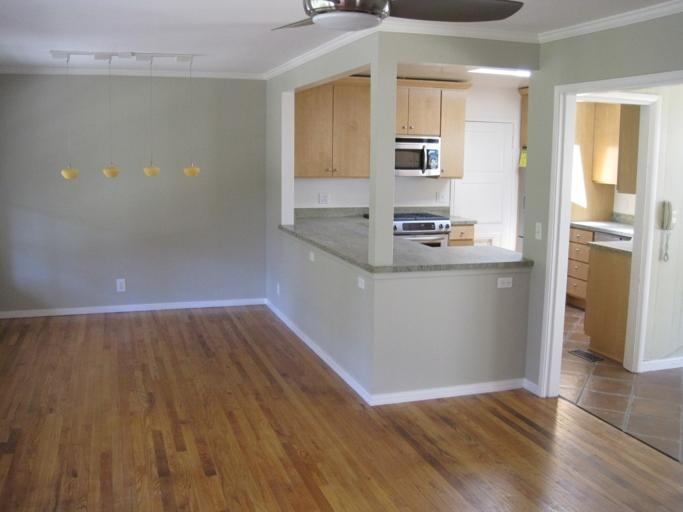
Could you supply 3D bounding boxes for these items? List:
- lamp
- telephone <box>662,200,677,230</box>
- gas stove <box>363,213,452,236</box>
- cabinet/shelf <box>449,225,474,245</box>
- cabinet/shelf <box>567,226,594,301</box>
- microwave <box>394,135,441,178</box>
[{"bbox_3d":[-2.217,-1.460,5.324,1.403,1.296,0.420,-2,10,-15],"label":"lamp"},{"bbox_3d":[2.942,-0.368,4.496,0.160,0.272,0.042,-1,11,-14],"label":"telephone"},{"bbox_3d":[0.969,-0.405,6.340,0.810,0.198,0.507,-1,11,-16],"label":"gas stove"},{"bbox_3d":[1.506,-0.329,6.508,0.320,0.332,0.247,-2,9,-14],"label":"cabinet/shelf"},{"bbox_3d":[2.905,0.064,6.150,0.119,0.843,0.346,0,11,-9],"label":"cabinet/shelf"},{"bbox_3d":[0.959,-1.247,6.513,0.733,0.543,0.478,-1,8,-10],"label":"microwave"}]
